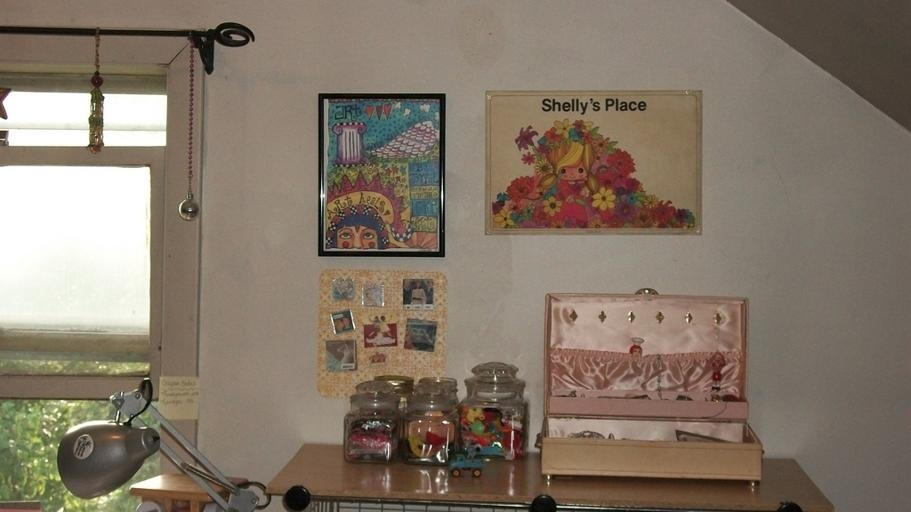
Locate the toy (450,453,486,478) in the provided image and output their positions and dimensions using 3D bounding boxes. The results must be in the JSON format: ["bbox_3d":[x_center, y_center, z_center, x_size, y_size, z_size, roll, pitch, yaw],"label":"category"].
[{"bbox_3d":[0.054,0.982,4.929,0.147,0.092,0.084,1,-7,4],"label":"toy"}]

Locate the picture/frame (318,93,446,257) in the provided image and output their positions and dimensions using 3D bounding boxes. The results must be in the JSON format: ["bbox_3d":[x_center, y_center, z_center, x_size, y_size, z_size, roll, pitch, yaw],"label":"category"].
[{"bbox_3d":[-0.348,-0.375,5.185,0.797,0.963,0.035,1,-1,-2],"label":"picture/frame"}]
